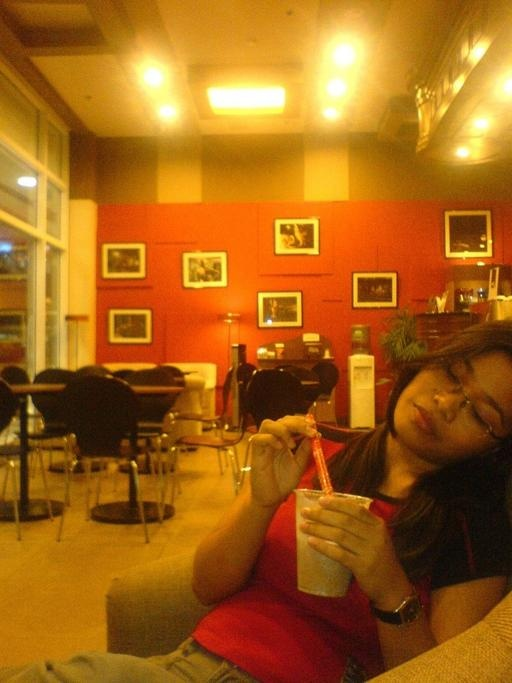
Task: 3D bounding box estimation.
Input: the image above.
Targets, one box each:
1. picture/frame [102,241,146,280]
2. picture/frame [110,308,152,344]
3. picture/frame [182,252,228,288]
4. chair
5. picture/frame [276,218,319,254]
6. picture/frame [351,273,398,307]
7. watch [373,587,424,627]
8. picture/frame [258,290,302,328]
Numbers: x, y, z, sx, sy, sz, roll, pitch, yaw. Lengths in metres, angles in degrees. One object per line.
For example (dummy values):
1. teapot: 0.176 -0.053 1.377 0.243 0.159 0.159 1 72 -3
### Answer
1. picture/frame: -2.049 -1.239 8.591 0.610 0.490 0.048 1 -1 -4
2. picture/frame: -1.940 -0.255 8.615 0.570 0.462 0.060 1 0 -4
3. picture/frame: -0.813 -1.107 8.597 0.572 0.456 0.045 0 -1 -1
4. chair: -0.714 0.682 3.536 1.206 0.702 1.194 0 2 0
5. picture/frame: 0.625 -1.619 8.560 0.564 0.447 0.042 0 1 -1
6. picture/frame: 1.824 -0.798 8.519 0.529 0.423 0.049 0 -5 -1
7. watch: 0.182 0.342 0.711 0.057 0.036 0.059 -3 -14 -11
8. picture/frame: 0.391 -0.502 8.598 0.597 0.473 0.047 0 -1 -2
